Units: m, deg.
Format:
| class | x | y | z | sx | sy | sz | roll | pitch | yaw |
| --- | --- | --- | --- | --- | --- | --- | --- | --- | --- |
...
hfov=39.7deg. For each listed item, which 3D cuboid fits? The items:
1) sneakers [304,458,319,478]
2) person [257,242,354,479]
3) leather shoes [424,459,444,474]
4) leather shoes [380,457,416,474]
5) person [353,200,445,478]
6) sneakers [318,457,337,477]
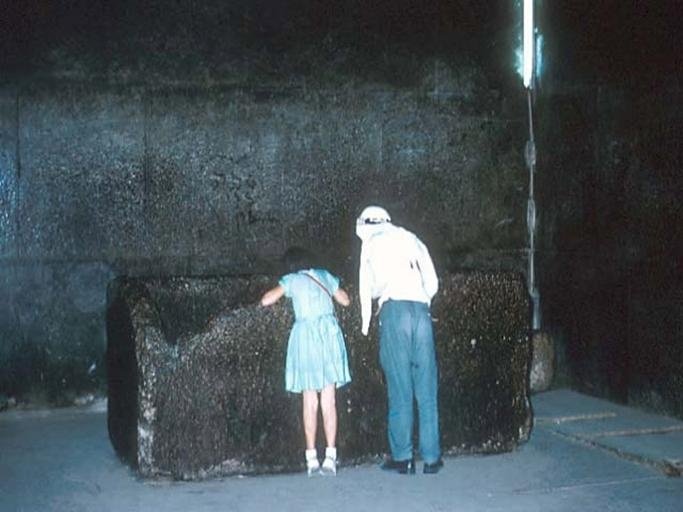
| class | x | y | z | sx | sy | sz | roll | pitch | yaw |
| --- | --- | --- | --- | --- | --- | --- | --- | --- | --- |
| sneakers | -0.267 | 1.842 | 8.280 | 0.109 | 0.256 | 0.135 | -1 | -2 | -1 |
| person | -0.267 | 0.930 | 8.395 | 0.689 | 1.889 | 0.651 | 3 | 14 | 14 |
| leather shoes | 0.810 | 1.842 | 8.311 | 0.073 | 0.103 | 0.210 | 1 | 6 | 31 |
| leather shoes | 0.496 | 1.815 | 8.337 | 0.291 | 0.165 | 0.122 | 4 | 3 | 42 |
| person | 0.524 | 0.734 | 8.440 | 0.714 | 2.204 | 0.858 | 0 | 13 | 0 |
| sneakers | -0.113 | 1.832 | 8.354 | 0.152 | 0.166 | 0.196 | -1 | 14 | 0 |
